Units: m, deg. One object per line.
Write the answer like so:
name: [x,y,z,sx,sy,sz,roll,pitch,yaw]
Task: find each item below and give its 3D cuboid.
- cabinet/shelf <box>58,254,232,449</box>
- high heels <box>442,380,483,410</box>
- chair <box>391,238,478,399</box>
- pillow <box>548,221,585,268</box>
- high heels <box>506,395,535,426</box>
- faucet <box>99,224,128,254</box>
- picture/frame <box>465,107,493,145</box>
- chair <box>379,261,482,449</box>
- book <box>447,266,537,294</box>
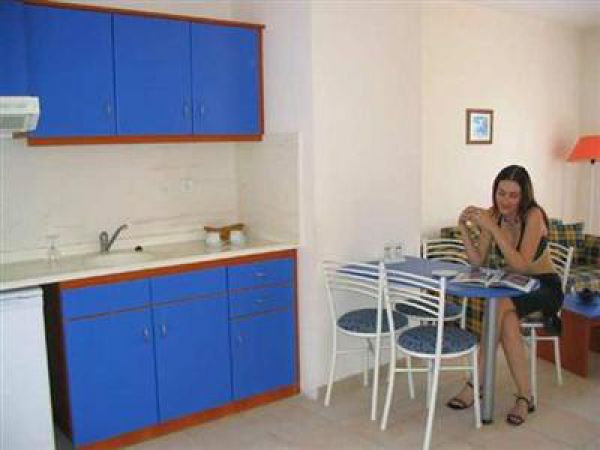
cabinet/shelf: [-0.812,0.657,2.429,0.853,0.755,0.321,-6,12,-33]
high heels: [0.867,0.920,2.600,0.286,0.113,0.101,-4,8,-31]
chair: [0.940,0.391,3.111,0.639,0.966,0.540,2,4,24]
pillow: [1.955,0.127,3.533,0.349,0.374,0.124,2,2,-12]
high heels: [1.169,0.949,2.494,0.225,0.095,0.081,-12,4,-43]
faucet: [-1.080,0.076,2.757,0.166,0.141,0.139,-7,13,-20]
picture/frame: [1.435,-0.806,3.882,0.305,0.346,0.024,0,1,-22]
chair: [0.708,0.581,2.593,0.519,0.893,0.857,0,13,15]
book: [0.960,0.254,2.388,0.395,0.051,0.388,4,14,26]
